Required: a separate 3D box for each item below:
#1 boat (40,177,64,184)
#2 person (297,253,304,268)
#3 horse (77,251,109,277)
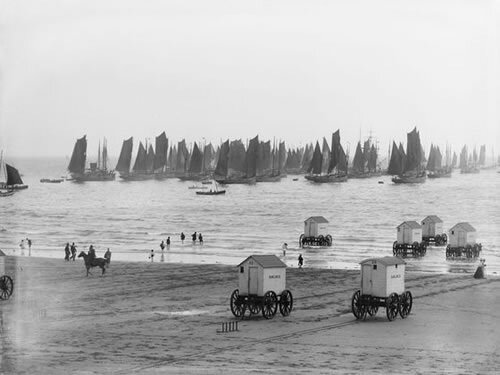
[{"bbox_3d":[-37.582,-0.685,210.175,5.076,1.345,1.442,0,3,15],"label":"boat"},{"bbox_3d":[3.624,5.329,79.662,0.566,1.041,0.363,6,15,25],"label":"person"},{"bbox_3d":[-10.212,5.062,73.009,1.762,1.498,2.983,1,-2,-8],"label":"horse"}]
